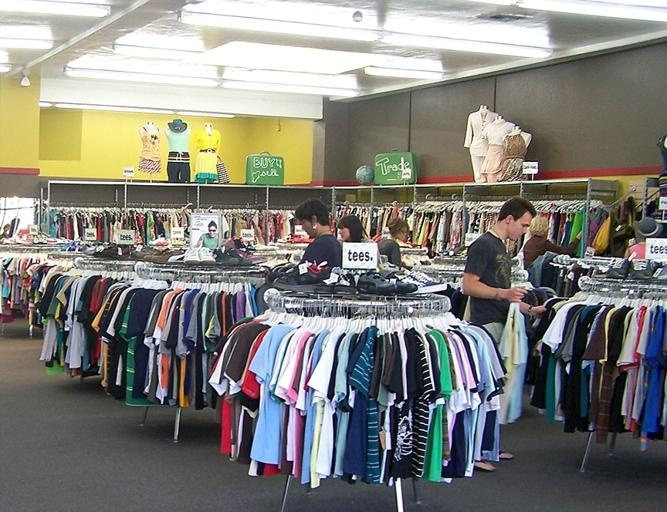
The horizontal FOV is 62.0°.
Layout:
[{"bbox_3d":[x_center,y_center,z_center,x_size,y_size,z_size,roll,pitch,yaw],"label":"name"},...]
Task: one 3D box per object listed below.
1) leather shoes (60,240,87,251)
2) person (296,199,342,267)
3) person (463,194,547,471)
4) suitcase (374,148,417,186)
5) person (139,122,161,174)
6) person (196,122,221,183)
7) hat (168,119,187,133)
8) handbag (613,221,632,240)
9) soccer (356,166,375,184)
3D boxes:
[{"bbox_3d":[-3.546,-0.146,7.552,0.198,0.085,0.232,2,-3,-13],"label":"leather shoes"},{"bbox_3d":[-0.128,-0.204,4.519,0.362,0.532,0.723,-1,4,-4],"label":"person"},{"bbox_3d":[1.172,0.554,3.884,0.545,1.929,0.977,1,5,20],"label":"person"},{"bbox_3d":[1.356,-1.900,11.984,0.985,0.812,0.325,0,1,33],"label":"suitcase"},{"bbox_3d":[-4.335,-2.552,13.049,0.447,1.203,0.576,-2,5,-19],"label":"person"},{"bbox_3d":[-2.951,-2.380,12.953,0.571,1.402,0.580,-2,4,-14],"label":"person"},{"bbox_3d":[-3.481,-2.900,12.399,0.422,0.327,0.285,-2,4,-17],"label":"hat"},{"bbox_3d":[4.208,-0.373,8.032,0.226,0.232,0.083,5,-3,14],"label":"handbag"},{"bbox_3d":[0.691,-1.858,12.912,0.405,0.470,0.409,1,1,31],"label":"soccer"}]
